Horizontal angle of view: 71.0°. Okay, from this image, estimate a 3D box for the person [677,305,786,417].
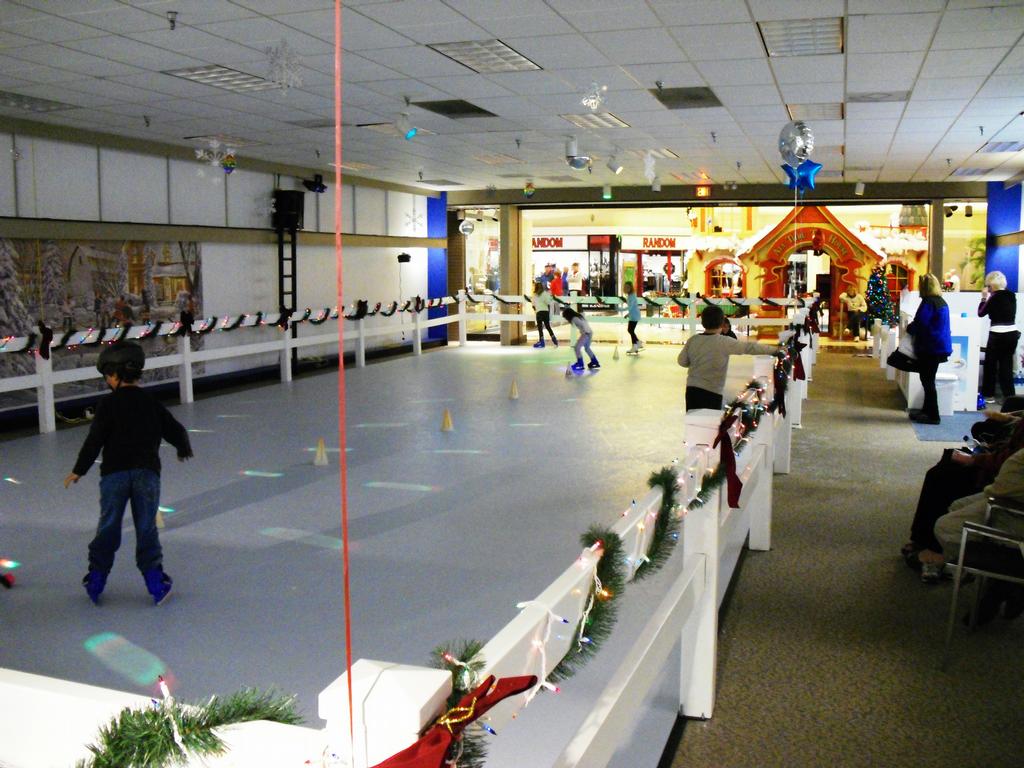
[{"bbox_3d":[1.906,-0.229,6.586,0.704,0.992,0.972,3,11,15],"label":"person"}]

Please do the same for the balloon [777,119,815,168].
[{"bbox_3d":[3.353,-2.859,8.521,0.304,0.492,0.507,6,12,28],"label":"balloon"}]

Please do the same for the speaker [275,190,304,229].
[{"bbox_3d":[-4.596,-3.607,14.982,0.612,0.811,0.439,-6,12,-30],"label":"speaker"}]

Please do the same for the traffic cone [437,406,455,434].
[{"bbox_3d":[-0.824,0.509,9.529,0.269,0.474,0.251,1,5,1],"label":"traffic cone"}]

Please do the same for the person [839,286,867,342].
[{"bbox_3d":[10.258,-2.123,21.725,0.637,1.522,1.448,4,12,24],"label":"person"}]

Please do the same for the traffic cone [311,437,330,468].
[{"bbox_3d":[-2.136,0.793,8.123,0.178,0.313,0.157,12,17,42],"label":"traffic cone"}]

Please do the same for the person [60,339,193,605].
[{"bbox_3d":[-2.441,0.559,4.657,0.625,1.619,0.580,0,11,0],"label":"person"}]

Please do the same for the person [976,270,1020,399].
[{"bbox_3d":[7.434,-0.724,11.012,0.614,1.959,1.565,6,13,32],"label":"person"}]

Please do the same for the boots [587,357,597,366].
[{"bbox_3d":[1.781,-0.445,15.426,0.178,0.167,0.410,1,11,4],"label":"boots"}]
